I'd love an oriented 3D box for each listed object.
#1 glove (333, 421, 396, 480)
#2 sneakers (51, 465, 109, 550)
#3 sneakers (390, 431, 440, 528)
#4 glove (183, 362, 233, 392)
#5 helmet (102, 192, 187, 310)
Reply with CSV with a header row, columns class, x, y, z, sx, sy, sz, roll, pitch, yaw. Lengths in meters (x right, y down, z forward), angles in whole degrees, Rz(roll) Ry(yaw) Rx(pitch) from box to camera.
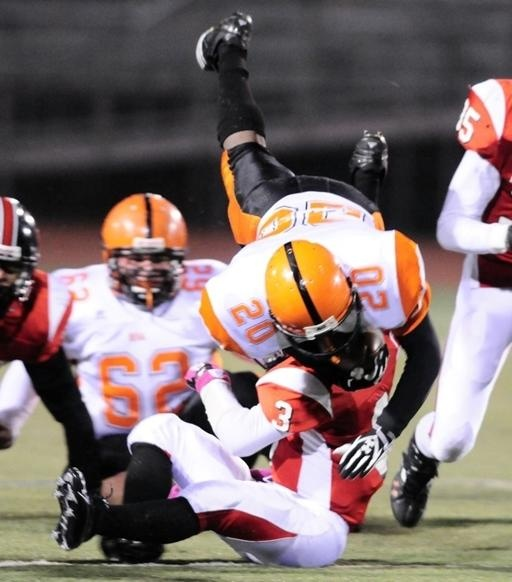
class,x,y,z,sx,sy,sz,roll,pitch,yaw
glove,0.256,0.383,2.023,0.086,0.168,0.048,47,-11,18
sneakers,-0.368,0.460,1.819,0.110,0.198,0.080,-14,42,-38
sneakers,0.524,0.637,2.884,0.114,0.312,0.145,29,-31,-15
glove,-0.119,0.230,2.190,0.096,0.066,0.120,-1,13,-18
helmet,-0.361,-0.137,2.749,0.324,0.333,0.369,-3,30,-12
